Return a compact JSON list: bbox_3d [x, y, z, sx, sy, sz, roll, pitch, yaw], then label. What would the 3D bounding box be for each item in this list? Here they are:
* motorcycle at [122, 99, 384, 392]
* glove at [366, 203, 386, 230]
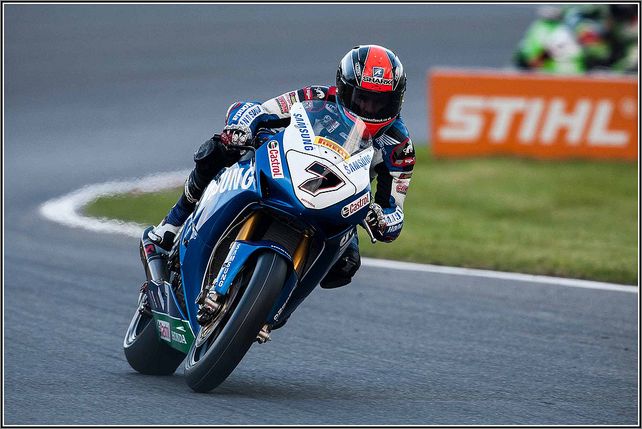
[{"bbox_3d":[-0.498,0.351,4.378,1.679,2.051,1.105,5,26,5],"label":"motorcycle"},{"bbox_3d":[0.381,0.014,4.422,0.120,0.164,0.071,-4,7,-18],"label":"glove"}]
